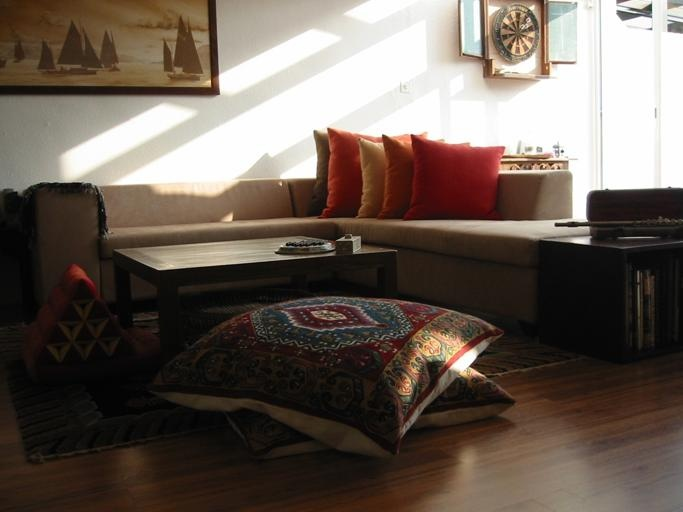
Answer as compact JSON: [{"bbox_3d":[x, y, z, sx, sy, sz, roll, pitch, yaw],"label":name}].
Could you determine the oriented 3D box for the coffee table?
[{"bbox_3d":[-0.461,0.079,2.668,1.109,0.423,1.119,0,7,-25],"label":"coffee table"}]

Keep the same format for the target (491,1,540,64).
[{"bbox_3d":[1.625,-2.153,5.154,0.751,0.663,0.043,-4,6,-27],"label":"target"}]
